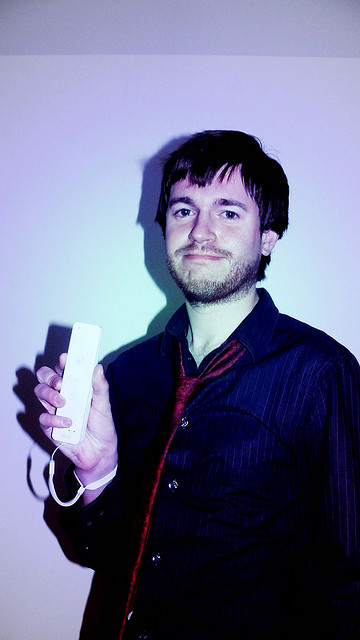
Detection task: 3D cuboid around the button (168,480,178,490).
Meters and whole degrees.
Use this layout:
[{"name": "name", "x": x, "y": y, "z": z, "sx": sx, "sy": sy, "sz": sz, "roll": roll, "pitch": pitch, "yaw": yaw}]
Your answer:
[{"name": "button", "x": -0.019, "y": 0.442, "z": 1.450, "sx": 0.023, "sy": 0.023, "sz": 0.016, "roll": 22, "pitch": 7, "yaw": 24}]

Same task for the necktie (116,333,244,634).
[{"name": "necktie", "x": 0.034, "y": 0.368, "z": 1.490, "sx": 0.230, "sy": 0.913, "sz": 0.038, "roll": 11, "pitch": -12, "yaw": 35}]

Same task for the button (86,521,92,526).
[{"name": "button", "x": -0.255, "y": 0.565, "z": 1.506, "sx": 0.014, "sy": 0.014, "sz": 0.003, "roll": -28, "pitch": -15, "yaw": -8}]

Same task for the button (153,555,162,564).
[{"name": "button", "x": -0.060, "y": 0.627, "z": 1.418, "sx": 0.020, "sy": 0.020, "sz": 0.005, "roll": 19, "pitch": -1, "yaw": 15}]

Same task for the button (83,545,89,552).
[{"name": "button", "x": -0.264, "y": 0.639, "z": 1.516, "sx": 0.012, "sy": 0.017, "sz": 0.005, "roll": 7, "pitch": 1, "yaw": 3}]

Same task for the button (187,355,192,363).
[{"name": "button", "x": 0.026, "y": 0.111, "z": 1.586, "sx": 0.016, "sy": 0.017, "sz": 0.004, "roll": -12, "pitch": -18, "yaw": 41}]

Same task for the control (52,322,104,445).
[{"name": "control", "x": -0.254, "y": 0.148, "z": 1.374, "sx": 0.097, "sy": 0.348, "sz": 0.036, "roll": 11, "pitch": -1, "yaw": 14}]
